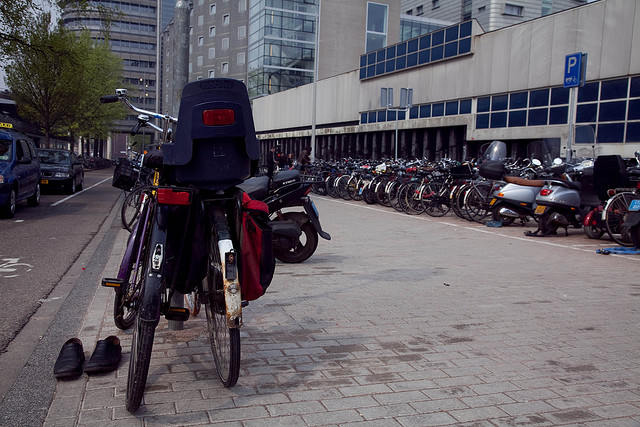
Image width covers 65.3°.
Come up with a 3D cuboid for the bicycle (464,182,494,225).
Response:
[{"bbox_3d":[4.629,-0.345,14.683,0.760,1.172,1.063,4,7,18],"label":"bicycle"}]

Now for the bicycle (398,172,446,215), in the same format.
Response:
[{"bbox_3d":[3.221,-0.695,15.841,0.848,1.244,2.119,-15,7,-28],"label":"bicycle"}]

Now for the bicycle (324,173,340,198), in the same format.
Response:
[{"bbox_3d":[0.526,-1.239,21.751,0.525,0.987,0.646,1,7,1],"label":"bicycle"}]

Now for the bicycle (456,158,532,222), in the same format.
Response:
[{"bbox_3d":[5.098,-0.413,14.949,2.216,1.328,1.256,-9,19,-20],"label":"bicycle"}]

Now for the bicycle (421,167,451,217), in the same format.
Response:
[{"bbox_3d":[3.722,-0.692,15.953,0.889,1.587,1.126,4,8,19],"label":"bicycle"}]

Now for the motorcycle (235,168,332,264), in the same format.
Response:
[{"bbox_3d":[-0.468,0.031,7.967,1.816,1.214,1.066,0,13,-5],"label":"motorcycle"}]

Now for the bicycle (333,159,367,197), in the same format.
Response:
[{"bbox_3d":[1.241,-1.575,22.036,1.206,1.480,1.902,2,7,6],"label":"bicycle"}]

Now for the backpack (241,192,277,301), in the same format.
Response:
[{"bbox_3d":[-0.488,0.264,3.963,0.246,0.841,0.324,1,7,-3],"label":"backpack"}]

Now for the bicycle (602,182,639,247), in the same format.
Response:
[{"bbox_3d":[6.279,-0.001,10.538,0.617,1.327,0.710,5,8,29],"label":"bicycle"}]

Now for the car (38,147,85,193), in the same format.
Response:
[{"bbox_3d":[-10.706,-1.857,21.054,1.527,1.146,3.267,0,0,-12],"label":"car"}]
